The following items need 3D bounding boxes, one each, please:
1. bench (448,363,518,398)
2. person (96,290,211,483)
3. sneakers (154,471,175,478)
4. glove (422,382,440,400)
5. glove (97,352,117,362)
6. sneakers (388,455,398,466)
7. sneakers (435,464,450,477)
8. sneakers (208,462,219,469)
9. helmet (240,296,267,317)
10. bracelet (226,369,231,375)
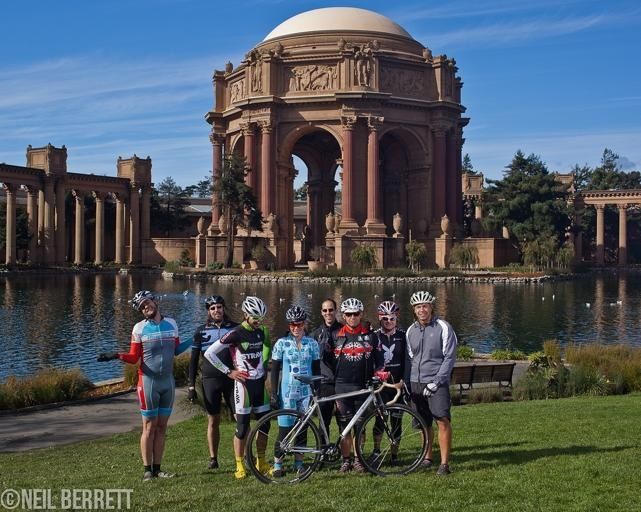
[{"bbox_3d":[3.778,2.835,22.775,1.871,0.686,1.584,-2,-3,-14],"label":"bench"},{"bbox_3d":[-2.902,2.196,16.891,1.043,3.195,0.614,-2,-3,-10],"label":"person"},{"bbox_3d":[-2.642,3.733,16.691,0.347,0.170,0.126,0,2,0],"label":"sneakers"},{"bbox_3d":[1.862,2.282,16.802,0.192,0.269,0.250,42,10,23],"label":"glove"},{"bbox_3d":[-3.572,1.709,16.634,0.329,0.123,0.516,-2,-3,-12],"label":"glove"},{"bbox_3d":[1.255,3.525,16.895,0.100,0.233,0.178,0,-15,-1],"label":"sneakers"},{"bbox_3d":[2.037,3.571,16.409,0.237,0.159,0.272,-3,-3,9],"label":"sneakers"},{"bbox_3d":[-1.878,3.655,17.108,0.154,0.171,0.104,-2,4,-38],"label":"sneakers"},{"bbox_3d":[-1.164,0.916,17.059,0.278,0.243,0.398,-8,40,-31],"label":"helmet"},{"bbox_3d":[-1.597,2.008,16.977,0.055,0.090,0.026,3,-6,-3],"label":"bracelet"}]
